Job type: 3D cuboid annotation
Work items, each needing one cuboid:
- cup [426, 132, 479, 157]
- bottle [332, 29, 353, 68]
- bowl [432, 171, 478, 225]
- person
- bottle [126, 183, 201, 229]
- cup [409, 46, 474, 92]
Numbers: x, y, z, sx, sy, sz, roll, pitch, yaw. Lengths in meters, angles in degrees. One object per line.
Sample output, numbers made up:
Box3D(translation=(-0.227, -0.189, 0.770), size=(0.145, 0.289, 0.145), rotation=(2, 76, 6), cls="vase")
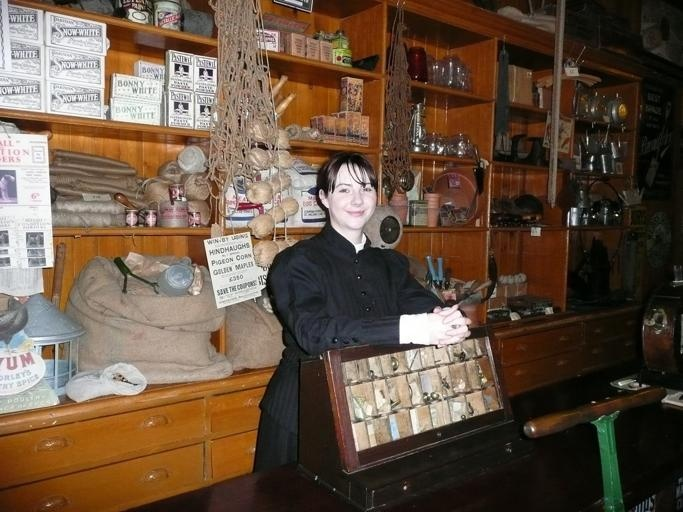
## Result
Box3D(translation=(0.665, -0.660, 3.111), size=(0.213, 0.102, 0.196), rotation=(1, 8, 0), cls="cup")
Box3D(translation=(-0.010, -1.121, 2.725), size=(0.136, 0.189, 0.136), rotation=(3, 17, -1), cls="bottle")
Box3D(translation=(0.765, -0.383, 3.287), size=(0.326, 0.331, 0.078), rotation=(-11, -4, 33), cls="bowl")
Box3D(translation=(0.051, 0.236, 1.661), size=(0.679, 1.172, 0.654), rotation=(-1, 6, -11), cls="person")
Box3D(translation=(-0.807, -0.223, 2.318), size=(0.268, 0.173, 0.202), rotation=(1, 2, 3), cls="bottle")
Box3D(translation=(0.599, -1.111, 2.991), size=(0.368, 0.145, 0.212), rotation=(-9, 25, -36), cls="cup")
